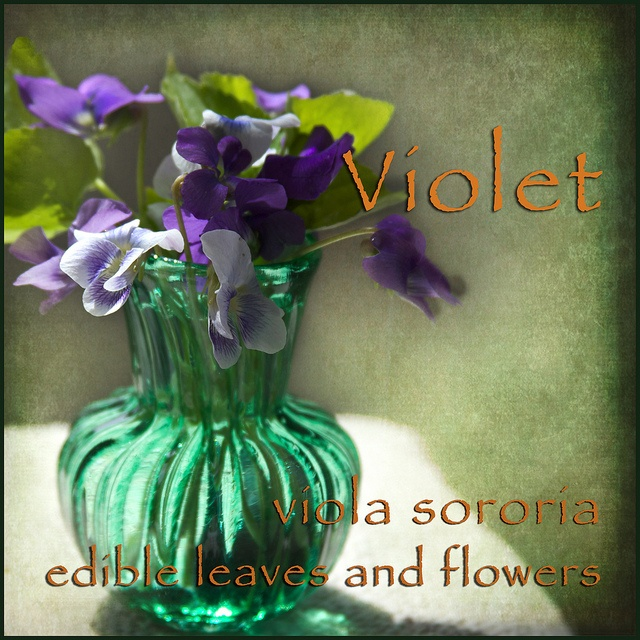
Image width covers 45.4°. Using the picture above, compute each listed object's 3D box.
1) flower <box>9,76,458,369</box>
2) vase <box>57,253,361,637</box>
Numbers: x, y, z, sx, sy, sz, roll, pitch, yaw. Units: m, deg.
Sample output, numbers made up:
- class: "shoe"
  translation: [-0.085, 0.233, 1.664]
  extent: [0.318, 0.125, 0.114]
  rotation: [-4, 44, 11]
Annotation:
- class: "flower"
  translation: [-0.058, -0.070, 0.497]
  extent: [0.213, 0.100, 0.232]
  rotation: [17, 10, -6]
- class: "vase"
  translation: [-0.083, 0.104, 0.608]
  extent: [0.198, 0.277, 0.208]
  rotation: [-4, -6, 9]
